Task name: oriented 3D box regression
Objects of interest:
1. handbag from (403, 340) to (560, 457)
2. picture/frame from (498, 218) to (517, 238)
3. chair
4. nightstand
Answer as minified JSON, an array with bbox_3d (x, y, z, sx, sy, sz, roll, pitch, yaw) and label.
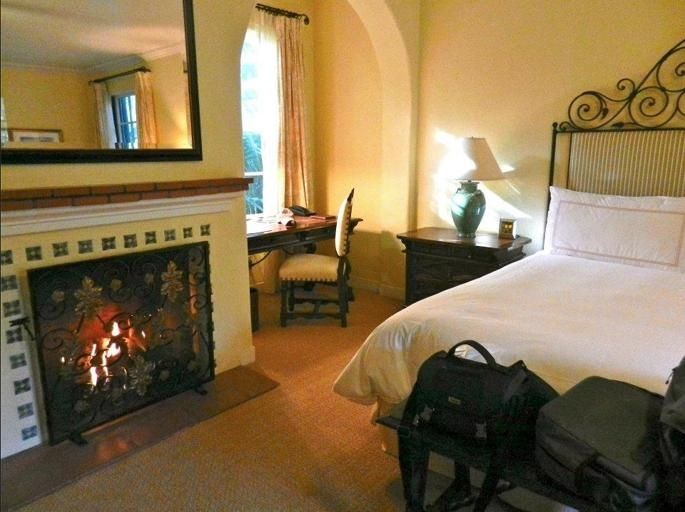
[{"bbox_3d":[0.551,0.570,2.111,0.594,0.392,0.272,4,14,28],"label":"handbag"},{"bbox_3d":[1.365,-0.226,4.221,0.169,0.216,0.114,3,-1,31],"label":"picture/frame"},{"bbox_3d":[-0.247,0.014,4.510,0.789,1.095,0.793,4,11,27],"label":"chair"},{"bbox_3d":[1.021,0.100,4.436,0.957,0.639,0.592,11,27,36],"label":"nightstand"}]
